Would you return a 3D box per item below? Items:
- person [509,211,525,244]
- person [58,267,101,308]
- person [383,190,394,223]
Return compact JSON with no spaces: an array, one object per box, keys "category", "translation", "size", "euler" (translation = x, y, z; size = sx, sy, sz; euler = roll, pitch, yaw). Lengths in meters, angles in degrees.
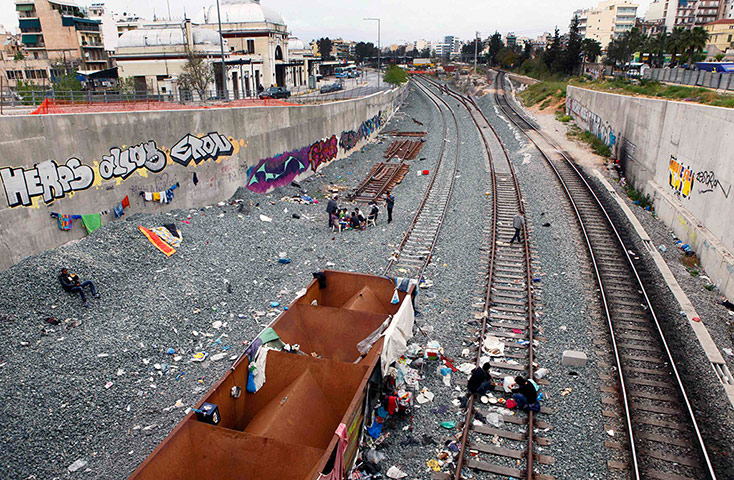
[{"category":"person","translation":[6.556,-0.509,18.774],"size":[0.554,1.162,1.049],"euler":[7,21,19]},{"category":"person","translation":[-9.280,1.414,14.091],"size":[0.778,1.198,0.719],"euler":[-23,17,-18]},{"category":"person","translation":[1.109,-1.540,21.566],"size":[0.793,1.705,0.571],"euler":[12,53,12]}]
